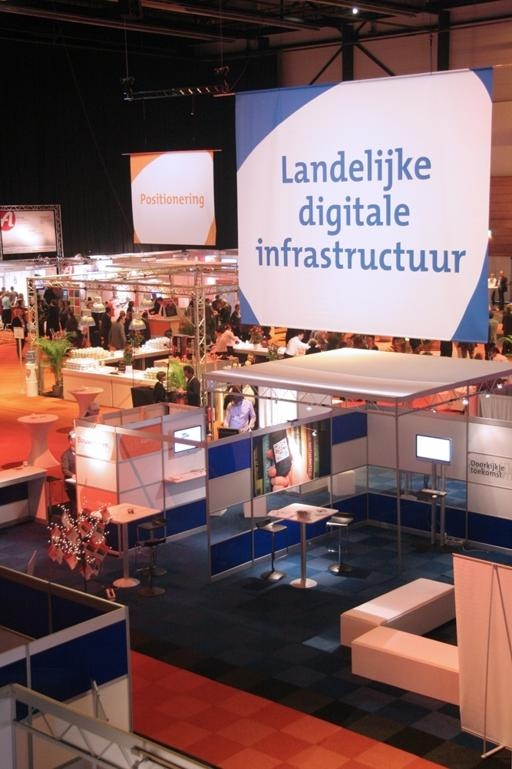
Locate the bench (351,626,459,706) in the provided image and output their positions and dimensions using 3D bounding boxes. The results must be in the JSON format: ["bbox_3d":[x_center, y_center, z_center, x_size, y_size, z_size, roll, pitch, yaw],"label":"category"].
[{"bbox_3d":[1.185,2.145,4.917,0.888,0.410,0.359,3,4,37],"label":"bench"}]

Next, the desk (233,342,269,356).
[{"bbox_3d":[-0.050,-0.870,15.338,1.032,0.308,0.593,2,4,30],"label":"desk"}]

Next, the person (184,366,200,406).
[{"bbox_3d":[-1.199,0.002,11.950,0.289,0.748,1.331,-1,4,-6],"label":"person"}]

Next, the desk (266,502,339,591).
[{"bbox_3d":[0.478,1.795,7.311,0.908,0.789,0.816,3,4,39],"label":"desk"}]

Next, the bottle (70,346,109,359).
[{"bbox_3d":[-3.912,-0.744,14.885,0.875,0.280,0.452,-1,4,-13],"label":"bottle"}]

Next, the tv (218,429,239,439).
[{"bbox_3d":[-0.377,0.642,8.443,0.229,0.105,0.355,-1,4,-12],"label":"tv"}]

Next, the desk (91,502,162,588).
[{"bbox_3d":[-1.507,1.764,7.333,0.793,1.008,0.788,-4,6,-43],"label":"desk"}]

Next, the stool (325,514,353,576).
[{"bbox_3d":[0.994,1.848,7.385,0.276,0.722,0.317,-13,16,-43],"label":"stool"}]

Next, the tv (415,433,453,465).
[{"bbox_3d":[2.203,0.807,7.817,0.123,0.336,0.480,-3,5,-44],"label":"tv"}]

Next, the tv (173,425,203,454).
[{"bbox_3d":[-0.898,0.727,8.405,0.198,0.304,0.641,1,4,25],"label":"tv"}]
